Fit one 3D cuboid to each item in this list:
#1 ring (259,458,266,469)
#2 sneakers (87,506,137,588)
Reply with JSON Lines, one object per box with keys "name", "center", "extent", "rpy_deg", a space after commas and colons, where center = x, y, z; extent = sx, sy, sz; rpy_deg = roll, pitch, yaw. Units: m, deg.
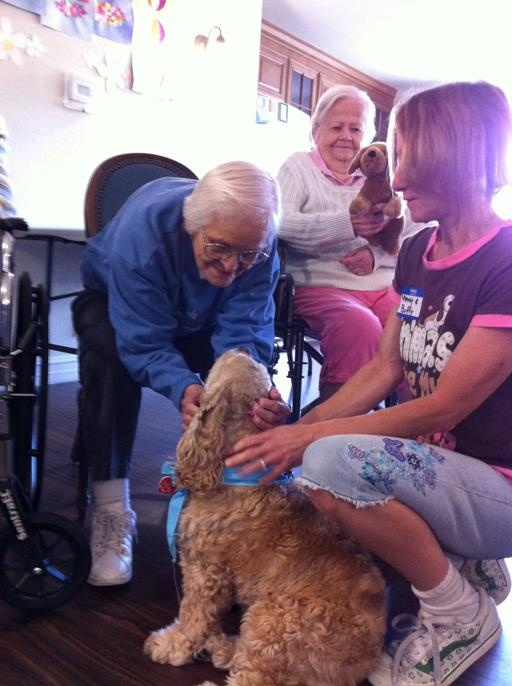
{"name": "ring", "center": [0.014, 0.269, 1.230], "extent": [0.004, 0.016, 0.017], "rpy_deg": [-1, -5, -23]}
{"name": "sneakers", "center": [-0.434, 0.604, 1.676], "extent": [0.127, 0.179, 0.227], "rpy_deg": [3, 7, -14]}
